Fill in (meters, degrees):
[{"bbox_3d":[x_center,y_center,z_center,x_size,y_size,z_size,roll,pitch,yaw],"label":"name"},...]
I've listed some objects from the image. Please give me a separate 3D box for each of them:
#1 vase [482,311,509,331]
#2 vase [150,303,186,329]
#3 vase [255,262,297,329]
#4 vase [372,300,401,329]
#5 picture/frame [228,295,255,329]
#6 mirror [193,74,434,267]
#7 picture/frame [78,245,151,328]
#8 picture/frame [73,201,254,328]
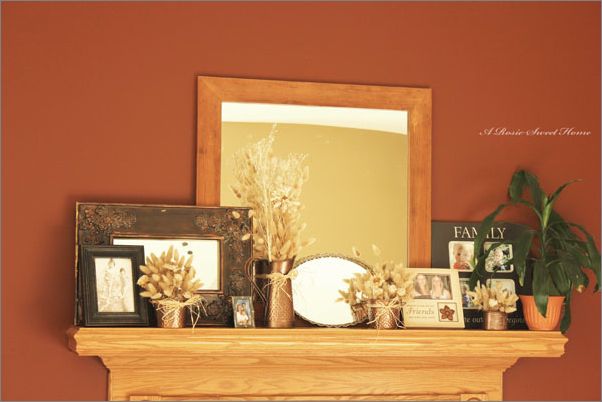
[{"bbox_3d":[1.177,0.711,5.427,0.112,0.097,0.113,3,-9,-7],"label":"vase"},{"bbox_3d":[-0.743,0.656,5.220,0.130,0.110,0.145,2,-9,-10],"label":"vase"},{"bbox_3d":[-0.160,0.548,5.351,0.240,0.406,0.126,-2,-9,9],"label":"vase"},{"bbox_3d":[0.512,0.673,5.377,0.209,0.170,0.147,3,-9,-18],"label":"vase"},{"bbox_3d":[-0.348,0.653,5.340,0.187,0.259,0.029,1,-32,-19],"label":"picture/frame"},{"bbox_3d":[0.022,-0.146,5.541,1.130,1.161,0.041,2,-8,-14],"label":"mirror"},{"bbox_3d":[-1.083,0.502,5.226,0.453,0.609,0.080,1,-14,-14],"label":"picture/frame"},{"bbox_3d":[-0.826,0.393,5.314,0.720,0.529,0.032,2,-14,-15],"label":"picture/frame"}]
